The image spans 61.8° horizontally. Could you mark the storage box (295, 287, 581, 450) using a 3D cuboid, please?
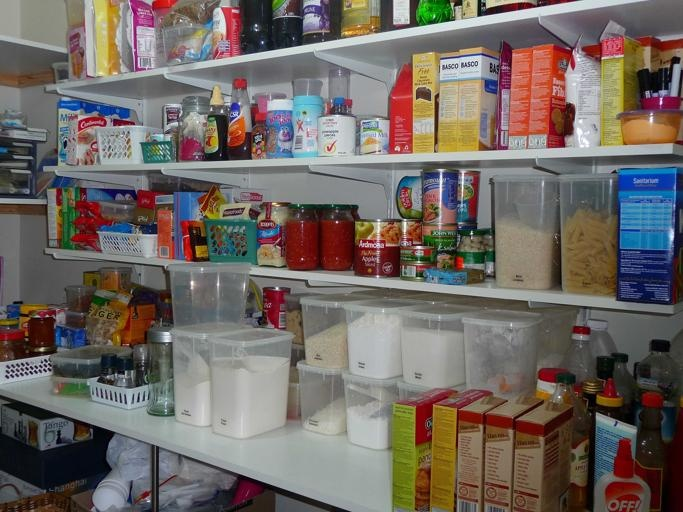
[{"bbox_3d":[0.295,0.304,1.790,0.610,0.371,0.412,-1,-2,43],"label":"storage box"}]

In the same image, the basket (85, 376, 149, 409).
[{"bbox_3d":[-0.829,0.504,2.127,0.167,0.050,0.107,-1,-1,40],"label":"basket"}]

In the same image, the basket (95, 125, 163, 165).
[{"bbox_3d":[-0.967,-0.487,2.612,0.282,0.134,0.199,5,7,33],"label":"basket"}]

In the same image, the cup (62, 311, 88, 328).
[{"bbox_3d":[-1.238,0.298,2.669,0.131,0.082,0.073,3,-2,35],"label":"cup"}]

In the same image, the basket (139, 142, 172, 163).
[{"bbox_3d":[-0.782,-0.433,2.435,0.139,0.067,0.092,-2,0,30],"label":"basket"}]

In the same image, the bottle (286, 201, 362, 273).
[{"bbox_3d":[-0.079,-0.066,2.008,0.304,0.246,0.169,6,6,39],"label":"bottle"}]

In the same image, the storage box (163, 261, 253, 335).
[{"bbox_3d":[-0.476,0.148,2.052,0.272,0.241,0.231,-1,1,-41],"label":"storage box"}]

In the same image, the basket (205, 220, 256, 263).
[{"bbox_3d":[-0.416,-0.054,2.182,0.206,0.123,0.139,0,-1,42],"label":"basket"}]

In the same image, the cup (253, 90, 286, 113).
[{"bbox_3d":[-0.287,-0.628,2.335,0.125,0.084,0.120,0,3,0],"label":"cup"}]

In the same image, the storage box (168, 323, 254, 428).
[{"bbox_3d":[-0.502,0.411,1.974,0.239,0.337,0.354,0,-1,43],"label":"storage box"}]

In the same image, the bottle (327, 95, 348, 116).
[{"bbox_3d":[-0.007,-0.523,2.002,0.075,0.067,0.072,1,6,11],"label":"bottle"}]

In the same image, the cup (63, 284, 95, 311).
[{"bbox_3d":[-1.246,0.187,2.735,0.126,0.122,0.134,4,3,0],"label":"cup"}]

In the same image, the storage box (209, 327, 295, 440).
[{"bbox_3d":[-0.290,0.413,1.923,0.264,0.367,0.351,1,1,39],"label":"storage box"}]

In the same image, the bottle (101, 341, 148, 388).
[{"bbox_3d":[-0.801,0.399,2.137,0.158,0.064,0.158,1,2,0],"label":"bottle"}]

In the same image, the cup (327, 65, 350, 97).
[{"bbox_3d":[-0.010,-0.692,2.270,0.110,0.115,0.107,2,6,0],"label":"cup"}]
